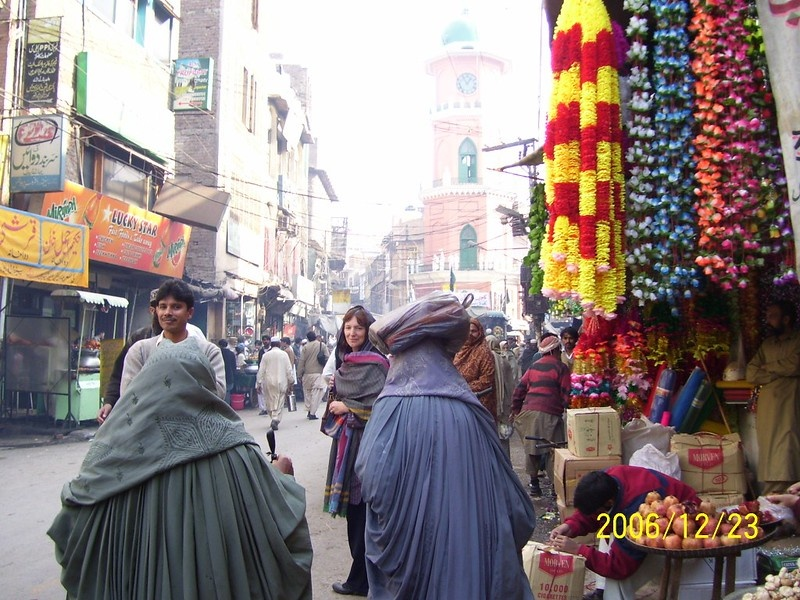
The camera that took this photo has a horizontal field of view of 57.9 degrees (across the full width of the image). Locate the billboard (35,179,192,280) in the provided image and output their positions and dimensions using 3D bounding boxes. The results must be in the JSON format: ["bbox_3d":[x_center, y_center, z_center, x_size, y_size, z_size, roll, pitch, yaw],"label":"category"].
[{"bbox_3d":[-5.669,-1.440,15.009,4.017,1.049,0.505,18,12,21],"label":"billboard"}]

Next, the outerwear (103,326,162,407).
[{"bbox_3d":[-2.368,0.589,6.242,0.556,0.823,0.284,6,-4,-30],"label":"outerwear"}]

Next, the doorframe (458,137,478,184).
[{"bbox_3d":[4.239,-8.422,44.936,1.226,3.604,0.381,0,42,7],"label":"doorframe"}]

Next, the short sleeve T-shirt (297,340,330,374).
[{"bbox_3d":[-1.747,1.158,14.515,0.713,0.823,0.432,0,-3,14],"label":"short sleeve T-shirt"}]

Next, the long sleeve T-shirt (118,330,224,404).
[{"bbox_3d":[-1.586,0.495,5.331,0.621,0.530,0.351,2,-14,0],"label":"long sleeve T-shirt"}]

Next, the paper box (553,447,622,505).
[{"bbox_3d":[1.617,1.521,6.495,0.518,0.362,0.544,0,-6,-5],"label":"paper box"}]

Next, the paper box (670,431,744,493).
[{"bbox_3d":[2.707,1.439,6.310,0.578,0.609,0.343,-6,6,18],"label":"paper box"}]

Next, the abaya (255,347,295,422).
[{"bbox_3d":[-2.393,1.589,13.862,0.643,1.708,0.472,2,-2,-19],"label":"abaya"}]

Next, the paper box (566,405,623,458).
[{"bbox_3d":[1.743,1.173,6.516,0.393,0.422,0.416,0,0,2],"label":"paper box"}]

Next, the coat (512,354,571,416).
[{"bbox_3d":[1.685,0.993,8.449,0.707,0.730,0.375,-2,2,8],"label":"coat"}]

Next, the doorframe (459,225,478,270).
[{"bbox_3d":[4.287,-3.198,44.889,1.087,3.021,0.157,0,-6,10],"label":"doorframe"}]

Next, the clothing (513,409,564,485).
[{"bbox_3d":[1.697,1.573,8.433,0.679,1.074,0.521,1,11,21],"label":"clothing"}]

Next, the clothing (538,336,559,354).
[{"bbox_3d":[1.745,0.542,8.504,0.175,0.090,0.227,-38,15,-9],"label":"clothing"}]
